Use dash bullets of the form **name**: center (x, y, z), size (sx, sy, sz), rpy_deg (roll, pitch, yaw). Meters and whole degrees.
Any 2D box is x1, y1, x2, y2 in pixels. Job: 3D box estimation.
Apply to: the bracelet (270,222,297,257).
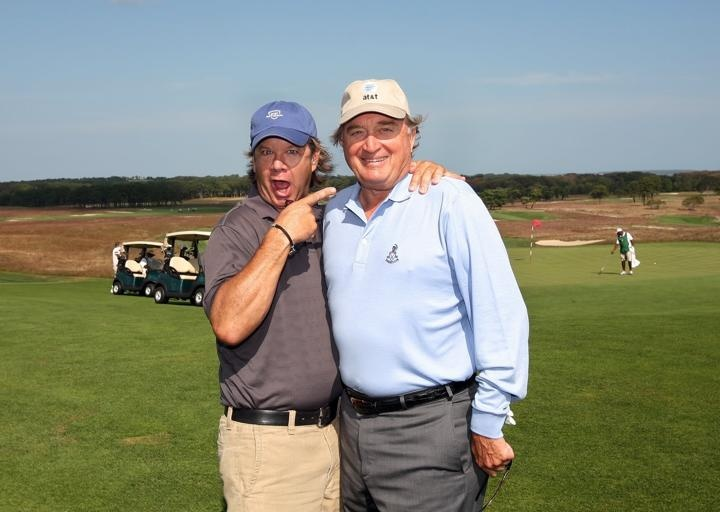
- **bracelet**: center (-0.569, -0.120, 4.409), size (0.081, 0.225, 0.161), rpy_deg (-36, -10, 19)
